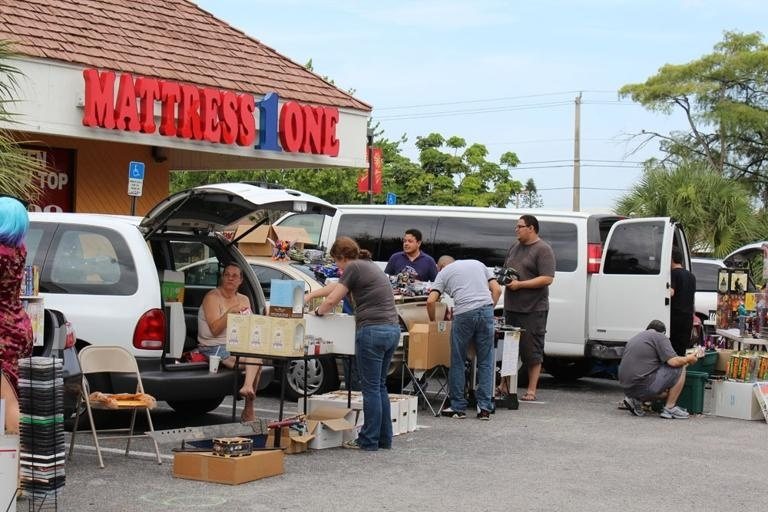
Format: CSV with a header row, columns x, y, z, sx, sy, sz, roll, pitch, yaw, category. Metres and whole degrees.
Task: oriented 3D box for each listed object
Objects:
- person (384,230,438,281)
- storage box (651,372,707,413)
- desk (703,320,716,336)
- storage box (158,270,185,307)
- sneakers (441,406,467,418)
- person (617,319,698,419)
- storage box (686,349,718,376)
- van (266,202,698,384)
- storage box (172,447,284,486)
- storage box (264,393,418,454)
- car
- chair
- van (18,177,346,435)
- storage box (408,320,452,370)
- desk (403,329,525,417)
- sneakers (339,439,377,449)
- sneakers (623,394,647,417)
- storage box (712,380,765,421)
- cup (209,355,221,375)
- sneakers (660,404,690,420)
x,y,z,sx,sy,sz,roll,pitch,yaw,category
0.435,0.006,12.506,0.839,0.728,0.422,2,-1,17,person
4.255,1.957,11.840,0.432,0.486,0.663,1,-7,17,storage box
6.589,1.457,16.793,0.209,0.246,0.774,-1,-1,20,desk
-2.453,0.400,9.805,0.393,0.341,0.222,3,0,20,storage box
0.878,2.040,10.750,0.336,0.134,0.121,8,6,22,sneakers
3.764,1.546,11.501,0.977,1.301,1.016,11,-12,-43,person
4.538,1.521,11.841,0.506,0.238,0.357,-4,3,-40,storage box
1.954,0.310,13.686,5.275,1.822,3.009,3,0,23,van
-1.547,1.994,7.818,0.475,0.145,0.508,-2,-3,29,storage box
-0.431,1.817,9.321,0.604,0.326,1.057,0,1,33,storage box
-1.261,0.956,11.262,3.510,1.214,1.773,1,-2,24,car
-2.690,1.447,8.266,0.919,1.071,0.894,-1,-4,14,chair
-3.473,0.320,10.146,4.782,2.474,2.438,10,4,20,van
0.601,1.197,11.117,0.390,0.539,0.734,-1,-3,31,storage box
1.031,1.545,10.998,1.257,0.732,0.398,0,4,-7,desk
-0.288,2.021,9.001,0.366,0.136,0.134,6,0,23,sneakers
3.439,2.069,11.338,0.200,0.427,0.145,-31,19,7,sneakers
4.851,1.999,11.425,0.550,0.395,0.562,-2,-4,42,storage box
-1.865,1.207,9.113,0.166,0.168,0.164,2,5,0,cup
3.969,2.145,11.261,0.399,0.174,0.162,2,-2,-8,sneakers
